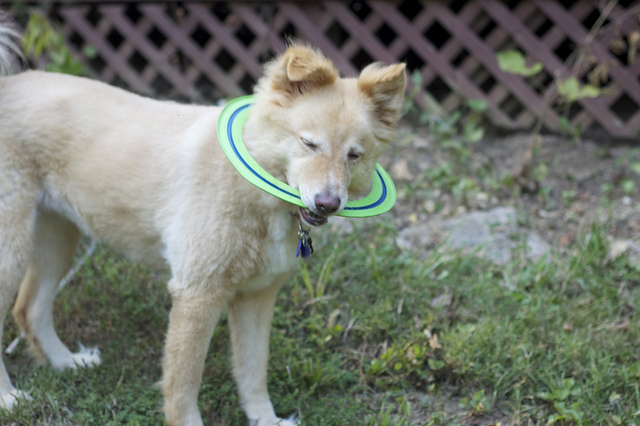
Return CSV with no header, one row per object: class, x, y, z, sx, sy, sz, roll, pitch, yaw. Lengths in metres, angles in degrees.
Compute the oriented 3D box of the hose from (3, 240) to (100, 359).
hose,-2.678,0.878,7.911,0.173,1.336,0.137,38,2,-27
